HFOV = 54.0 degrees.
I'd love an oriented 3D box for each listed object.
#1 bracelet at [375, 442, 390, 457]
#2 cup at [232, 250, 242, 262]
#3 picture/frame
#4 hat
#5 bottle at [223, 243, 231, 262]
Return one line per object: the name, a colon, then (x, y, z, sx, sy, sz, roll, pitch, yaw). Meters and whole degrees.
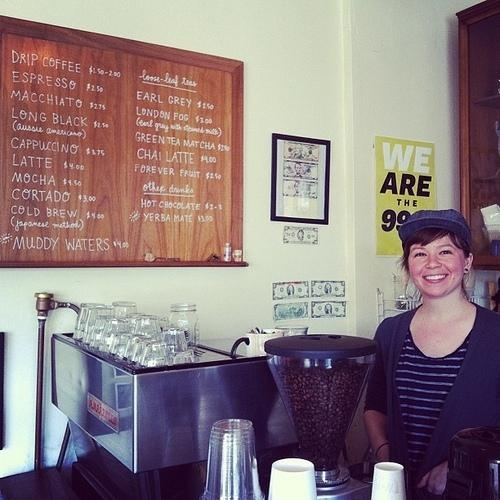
bracelet: (0.427, 0.637, 1.586, 0.043, 0.036, 0.046, -7, -11, 32)
cup: (-0.048, 0.026, 2.287, 0.035, 0.047, 0.072, -2, 1, 40)
picture/frame: (0.242, -0.355, 2.479, 0.455, 0.610, 0.020, 0, 3, -26)
hat: (0.629, -0.067, 1.656, 0.196, 0.114, 0.254, 0, -4, 28)
bottle: (-0.101, 0.010, 2.259, 0.045, 0.065, 0.063, -3, 1, -10)
